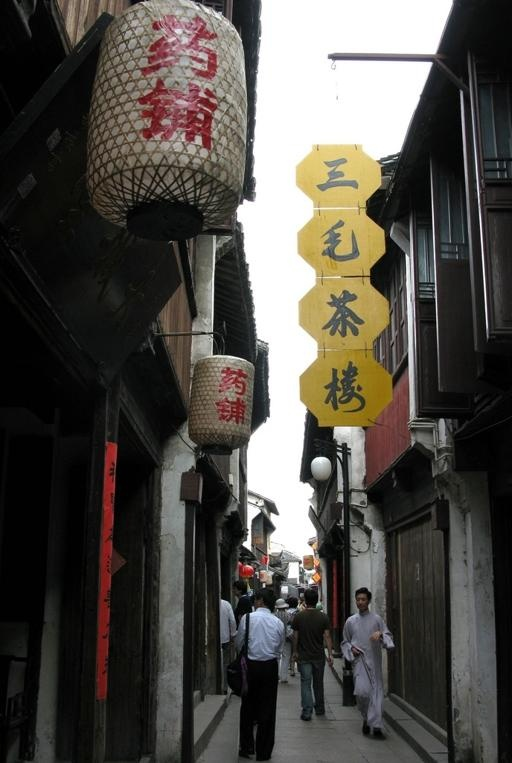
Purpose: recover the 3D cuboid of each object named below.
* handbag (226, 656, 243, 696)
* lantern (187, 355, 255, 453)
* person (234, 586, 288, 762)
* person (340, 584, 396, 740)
[{"bbox_3d":[-0.226,3.159,7.491,0.164,0.391,0.314,1,-18,-3],"label":"handbag"},{"bbox_3d":[-0.376,0.308,7.123,0.610,1.436,0.807,5,-17,-5],"label":"lantern"},{"bbox_3d":[-0.013,3.288,7.550,0.523,1.501,0.488,-14,-21,39],"label":"person"},{"bbox_3d":[1.427,3.554,8.990,0.666,1.678,0.472,-4,-16,14],"label":"person"}]
